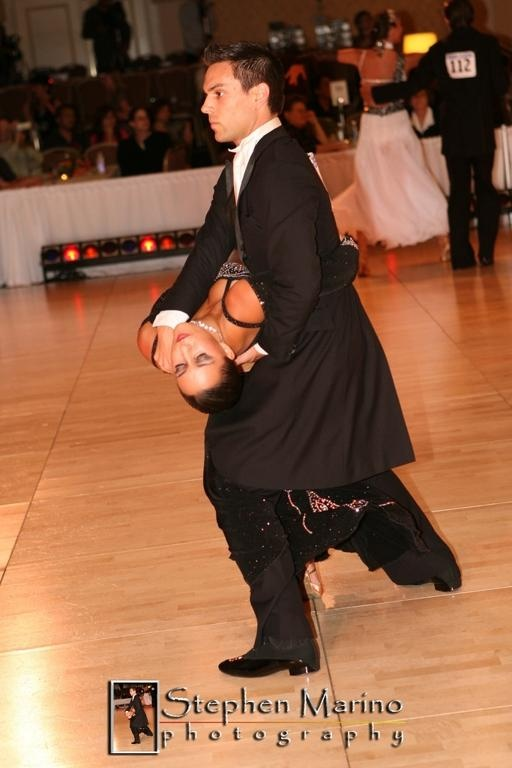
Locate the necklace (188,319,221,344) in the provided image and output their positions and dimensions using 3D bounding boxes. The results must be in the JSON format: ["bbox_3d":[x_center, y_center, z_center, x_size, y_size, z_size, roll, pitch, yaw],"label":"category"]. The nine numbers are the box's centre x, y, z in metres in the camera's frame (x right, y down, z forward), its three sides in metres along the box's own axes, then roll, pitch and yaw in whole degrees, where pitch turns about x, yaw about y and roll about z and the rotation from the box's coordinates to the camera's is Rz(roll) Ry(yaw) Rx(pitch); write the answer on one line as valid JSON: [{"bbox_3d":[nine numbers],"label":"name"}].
[{"bbox_3d":[-0.087,-0.089,1.180,0.046,0.022,0.034,31,6,12],"label":"necklace"}]

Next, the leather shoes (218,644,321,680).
[{"bbox_3d":[0.022,0.570,1.430,0.230,0.091,0.072,2,-6,7],"label":"leather shoes"}]
